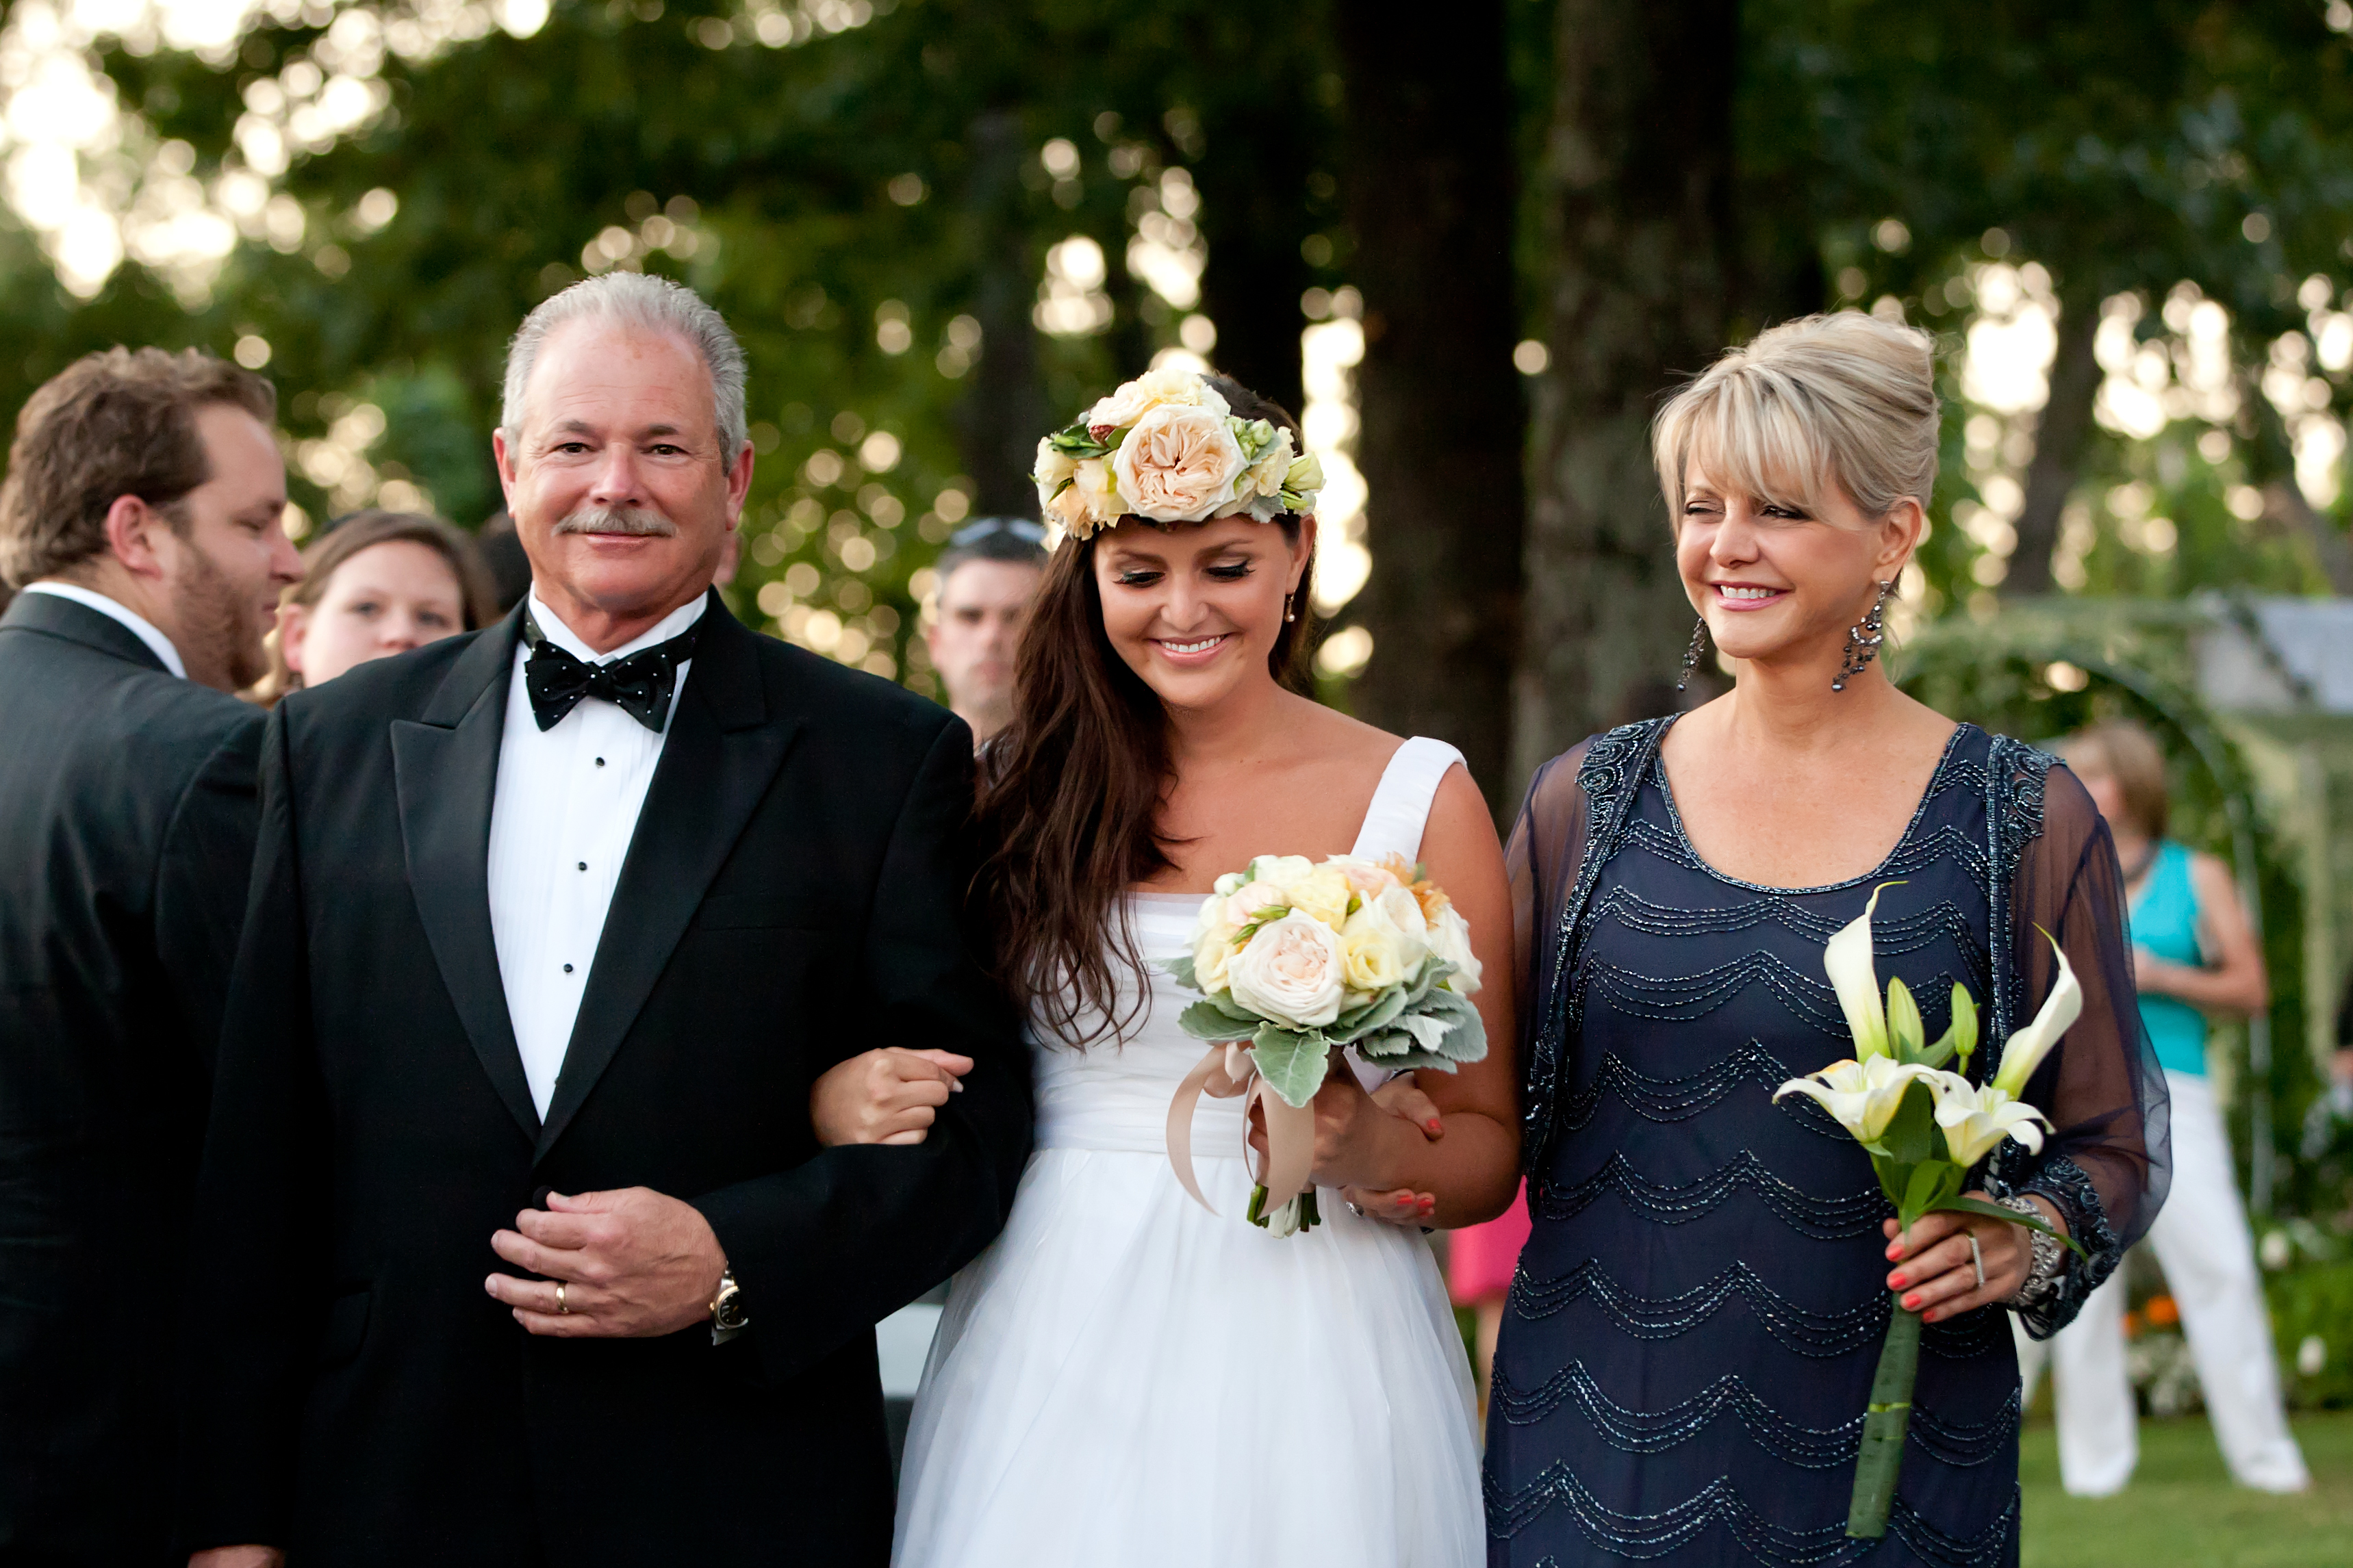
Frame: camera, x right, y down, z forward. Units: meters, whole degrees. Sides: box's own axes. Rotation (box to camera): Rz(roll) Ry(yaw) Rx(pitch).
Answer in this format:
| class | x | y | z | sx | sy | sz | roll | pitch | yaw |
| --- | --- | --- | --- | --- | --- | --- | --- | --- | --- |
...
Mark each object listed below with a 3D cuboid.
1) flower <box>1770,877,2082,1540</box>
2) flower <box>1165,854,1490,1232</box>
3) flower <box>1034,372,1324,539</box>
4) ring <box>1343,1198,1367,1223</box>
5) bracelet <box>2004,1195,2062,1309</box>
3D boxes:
| class | x | y | z | sx | sy | sz | roll | pitch | yaw |
| --- | --- | --- | --- | --- | --- | --- | --- | --- | --- |
| flower | 1.691 | 0.980 | 6.176 | 0.643 | 1.488 | 0.376 | 0 | 0 | 5 |
| flower | 0.291 | 0.524 | 6.458 | 0.747 | 0.813 | 0.749 | -7 | 25 | -15 |
| flower | 0.018 | -0.794 | 6.542 | 0.454 | 0.236 | 0.456 | -30 | 41 | -34 |
| ring | 0.429 | 1.026 | 6.508 | 0.040 | 0.031 | 0.050 | 22 | -3 | 13 |
| bracelet | 1.959 | 1.062 | 6.177 | 0.073 | 0.218 | 0.178 | 10 | -16 | -21 |
